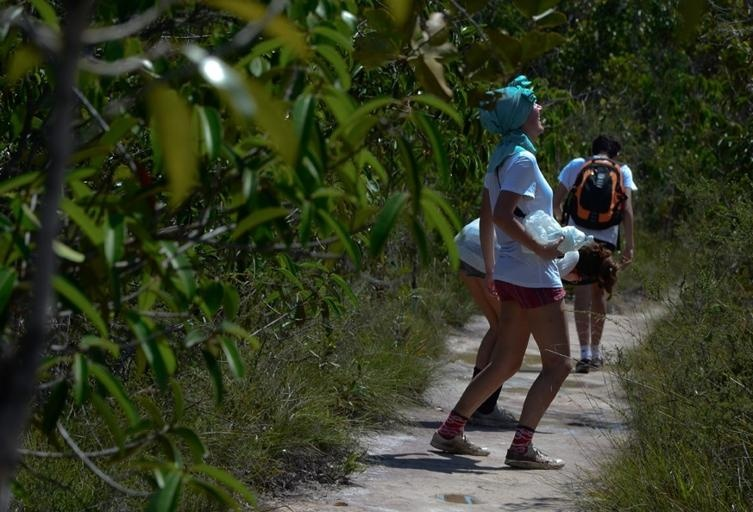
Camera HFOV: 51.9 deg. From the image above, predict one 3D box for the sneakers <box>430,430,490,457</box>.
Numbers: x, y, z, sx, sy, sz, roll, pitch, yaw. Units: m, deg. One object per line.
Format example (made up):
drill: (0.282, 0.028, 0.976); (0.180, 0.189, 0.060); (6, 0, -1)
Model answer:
sneakers: (0.556, 1.290, 5.310); (0.421, 0.215, 0.163); (5, 5, -13)

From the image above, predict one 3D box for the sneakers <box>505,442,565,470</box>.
sneakers: (1.032, 1.267, 5.000); (0.341, 0.179, 0.167); (-1, 0, -3)

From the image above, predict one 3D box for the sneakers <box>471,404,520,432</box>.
sneakers: (0.939, 1.282, 6.116); (0.399, 0.208, 0.162); (-1, 0, 0)

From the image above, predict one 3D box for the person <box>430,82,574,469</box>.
person: (0.875, 0.139, 5.080); (0.830, 2.506, 0.687); (4, 6, 35)
